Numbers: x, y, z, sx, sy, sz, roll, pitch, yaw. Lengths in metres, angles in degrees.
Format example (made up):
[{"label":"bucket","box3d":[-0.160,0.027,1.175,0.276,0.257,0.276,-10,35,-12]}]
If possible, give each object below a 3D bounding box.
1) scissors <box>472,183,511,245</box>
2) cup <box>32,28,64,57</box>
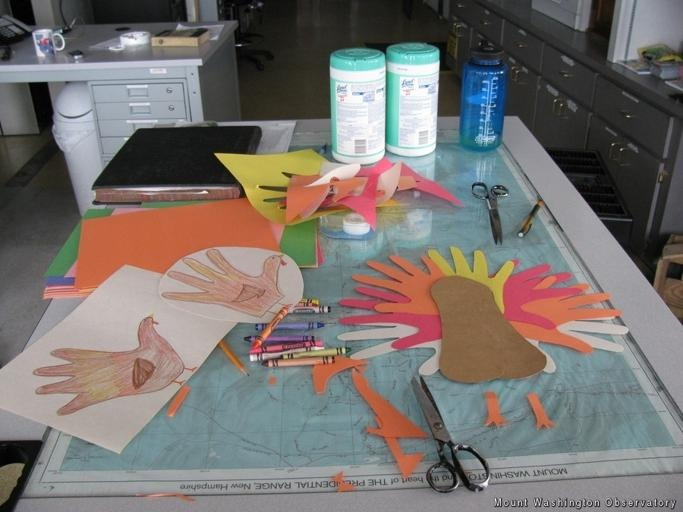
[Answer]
[{"label":"scissors","box3d":[0.286,-0.084,0.997,0.066,0.018,0.140,3,32,4]},{"label":"cup","box3d":[-1.332,-0.960,2.396,0.113,0.117,0.177,-11,31,-25]}]
